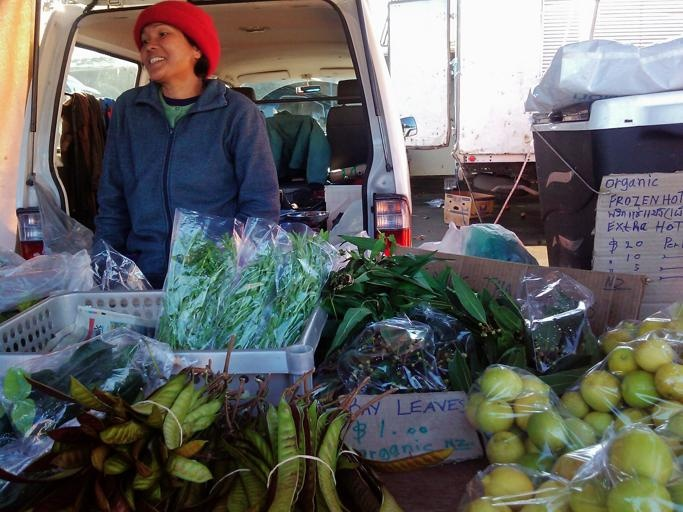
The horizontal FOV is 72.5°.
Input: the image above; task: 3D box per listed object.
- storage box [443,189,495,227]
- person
[{"bbox_3d":[2.116,-0.782,7.736,0.884,0.571,0.903,2,15,14],"label":"storage box"},{"bbox_3d":[-0.806,-0.548,2.362,0.934,1.391,0.398,-3,5,15],"label":"person"}]
